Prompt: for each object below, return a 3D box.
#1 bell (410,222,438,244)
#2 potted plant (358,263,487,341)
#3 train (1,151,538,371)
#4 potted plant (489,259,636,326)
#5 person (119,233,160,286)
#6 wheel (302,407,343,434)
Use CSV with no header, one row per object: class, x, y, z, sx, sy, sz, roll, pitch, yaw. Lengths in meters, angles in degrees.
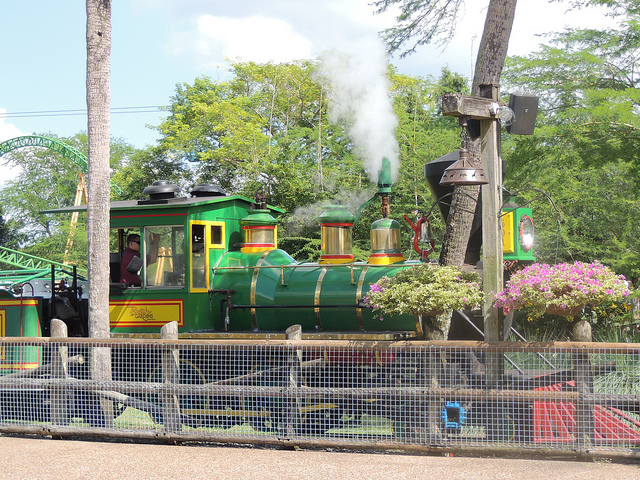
bell,1.880,-0.145,18.404,0.463,0.349,0.381,1,-9,-5
potted plant,1.880,1.036,16.566,1.385,0.771,1.159,-3,14,-23
train,-2.877,0.555,20.384,13.849,4.431,3.740,-2,-1,19
potted plant,3.937,0.788,16.077,2.676,0.984,2.037,-1,1,13
person,-3.406,0.414,19.442,0.813,1.085,0.593,-15,23,-30
wheel,0.043,2.992,16.981,0.839,0.680,0.029,-2,31,-2
